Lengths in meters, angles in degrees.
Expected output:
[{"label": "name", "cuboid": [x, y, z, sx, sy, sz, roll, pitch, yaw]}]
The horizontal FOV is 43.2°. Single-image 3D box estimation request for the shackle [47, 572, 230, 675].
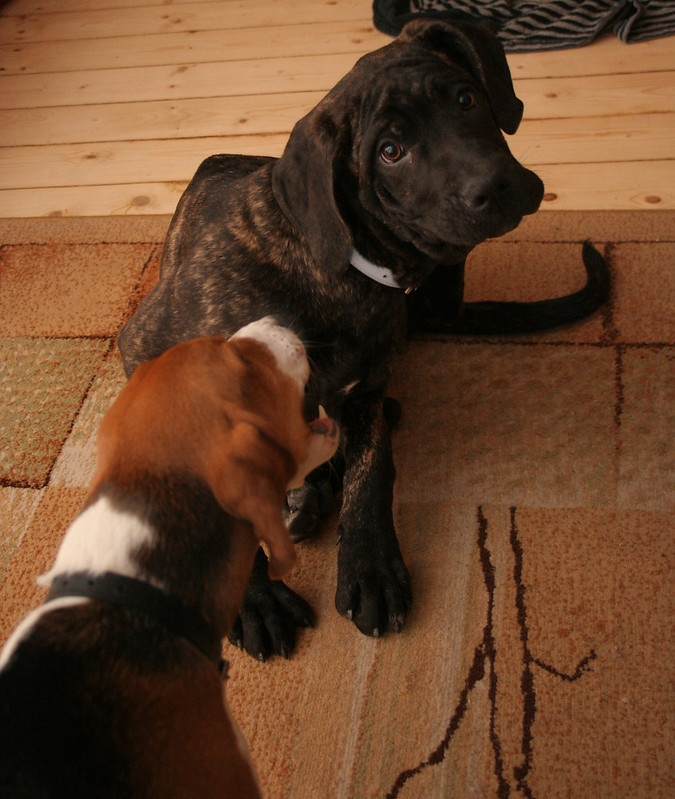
[{"label": "shackle", "cuboid": [-0.331, 0.369, 1.442, 0.052, 0.235, 0.163, -63, 19, -1]}]
